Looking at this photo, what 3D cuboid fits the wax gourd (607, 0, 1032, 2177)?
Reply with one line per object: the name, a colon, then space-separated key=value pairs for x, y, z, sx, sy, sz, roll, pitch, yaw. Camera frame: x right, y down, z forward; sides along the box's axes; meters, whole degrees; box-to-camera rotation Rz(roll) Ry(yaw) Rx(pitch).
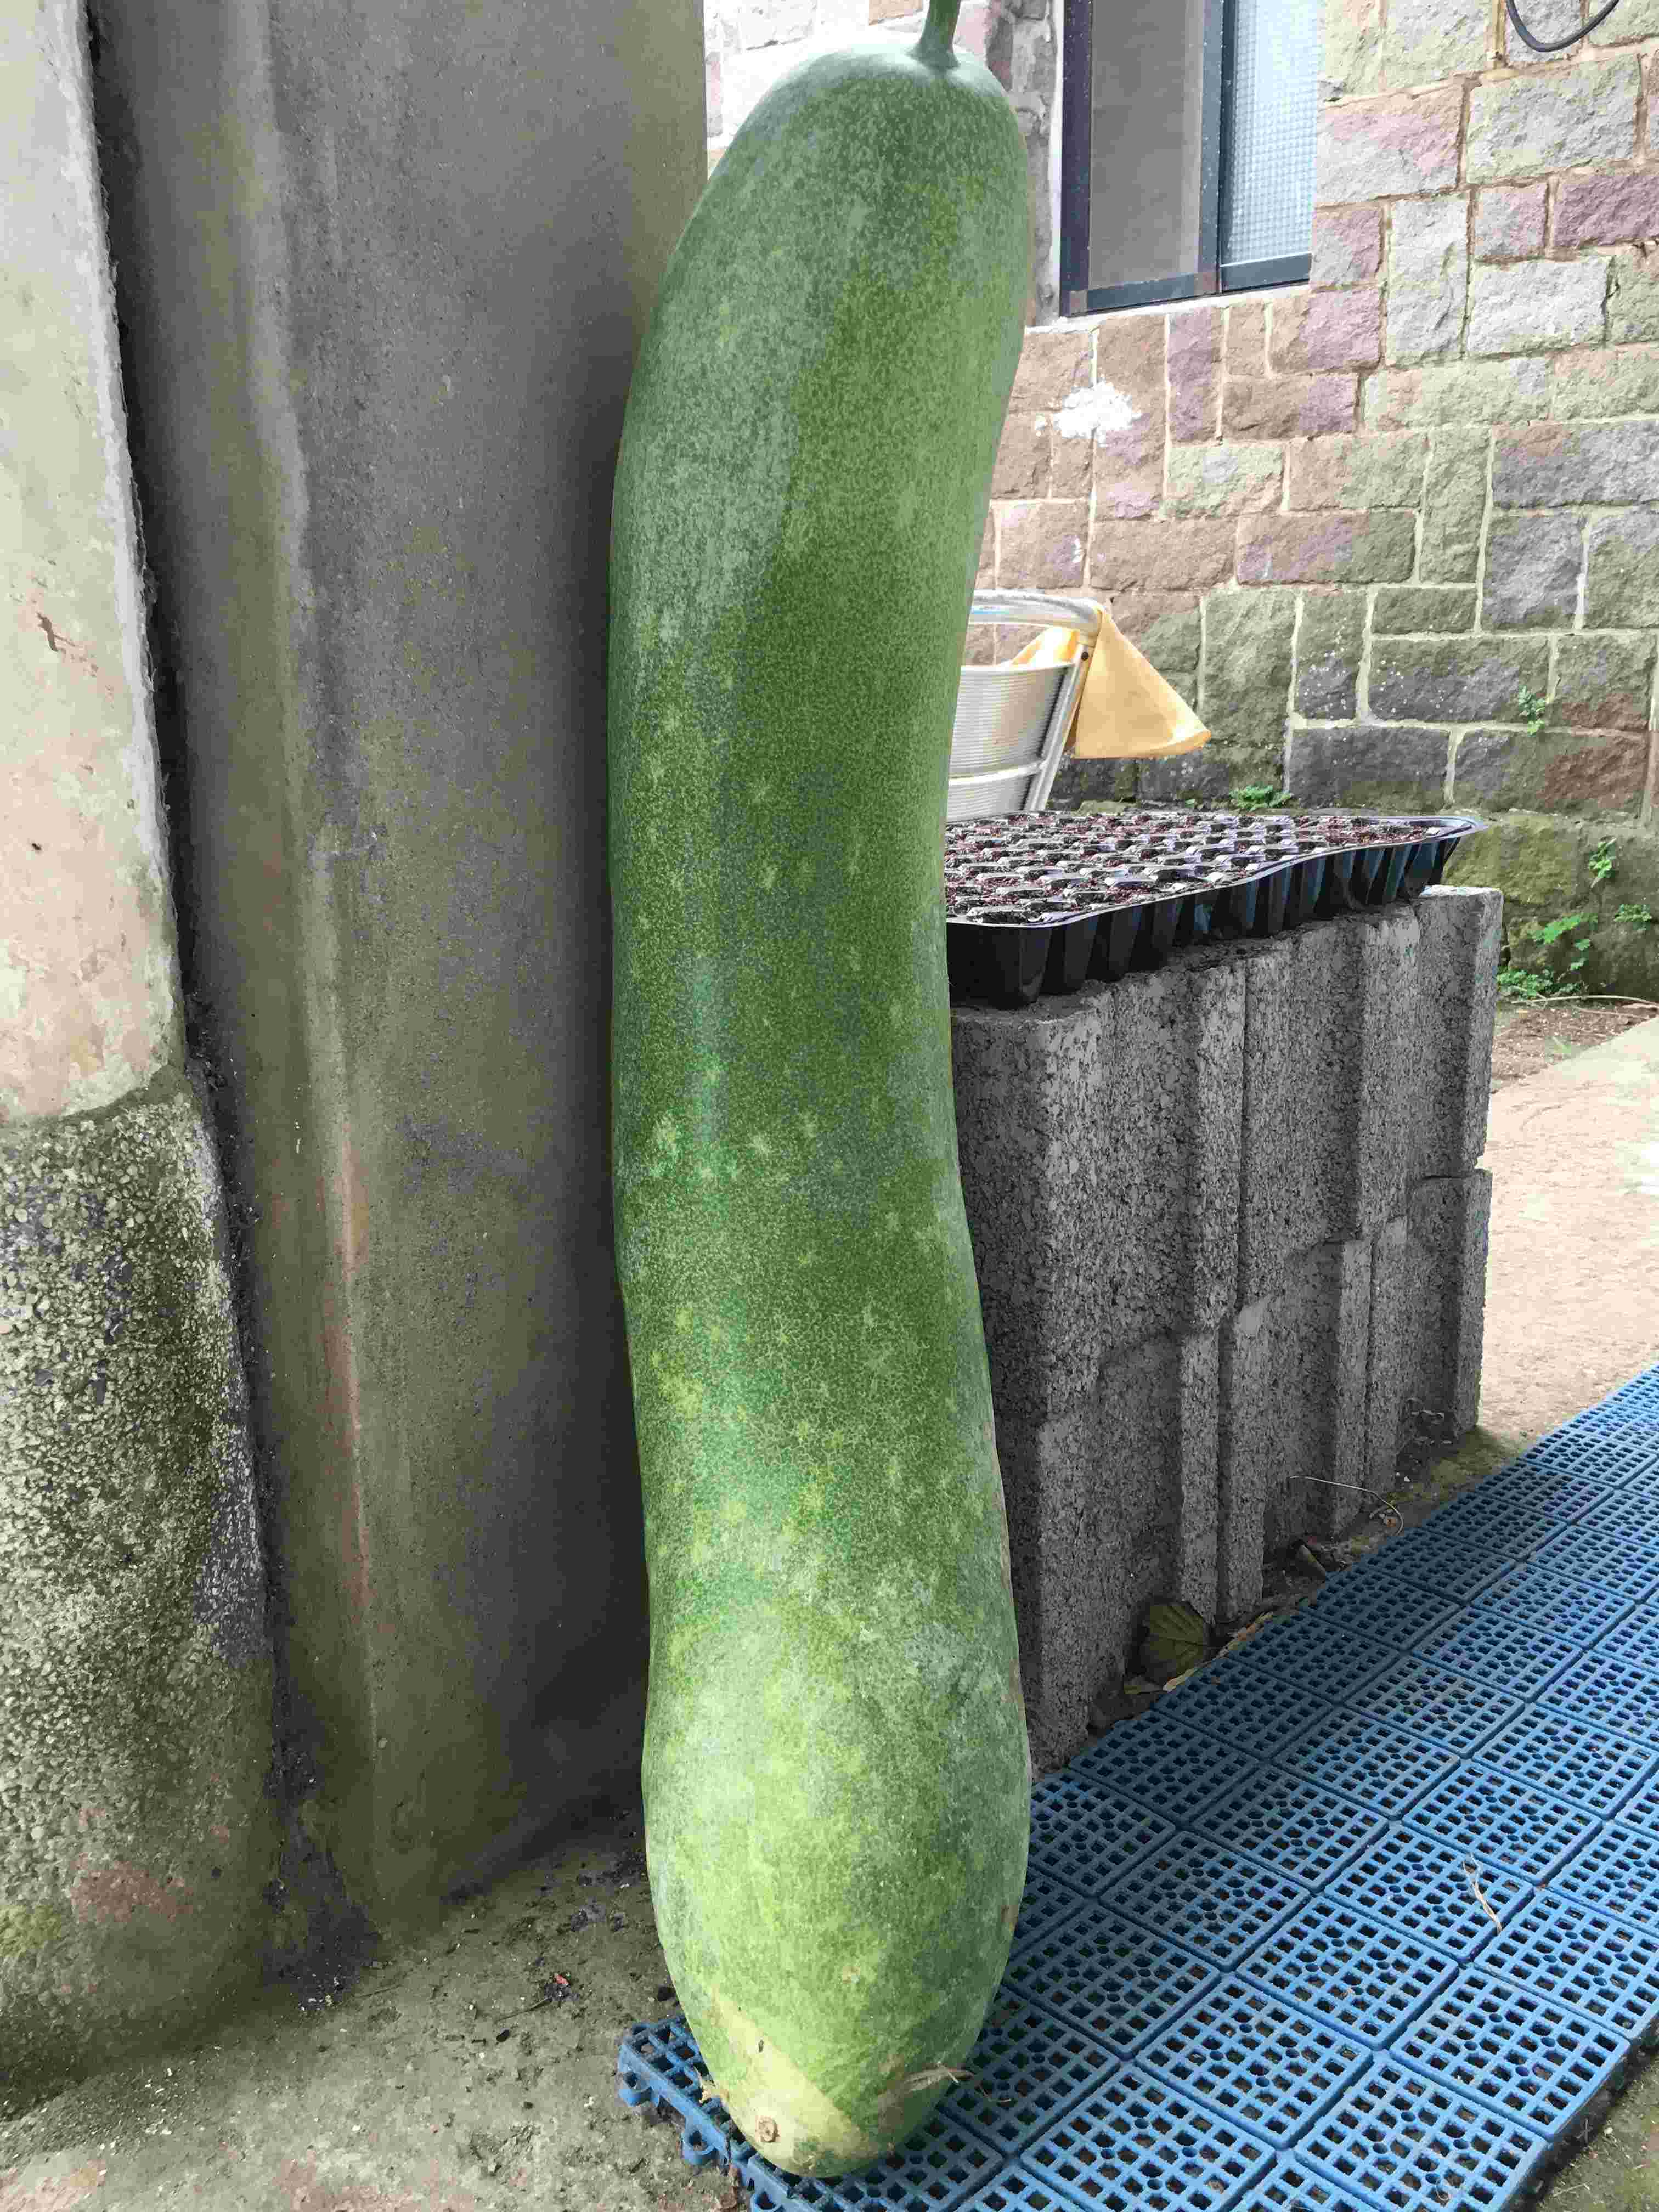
wax gourd: x=0.004 y=0.003 z=1.318 sx=0.267 sy=1.225 sz=0.472 roll=1 pitch=22 yaw=-6
